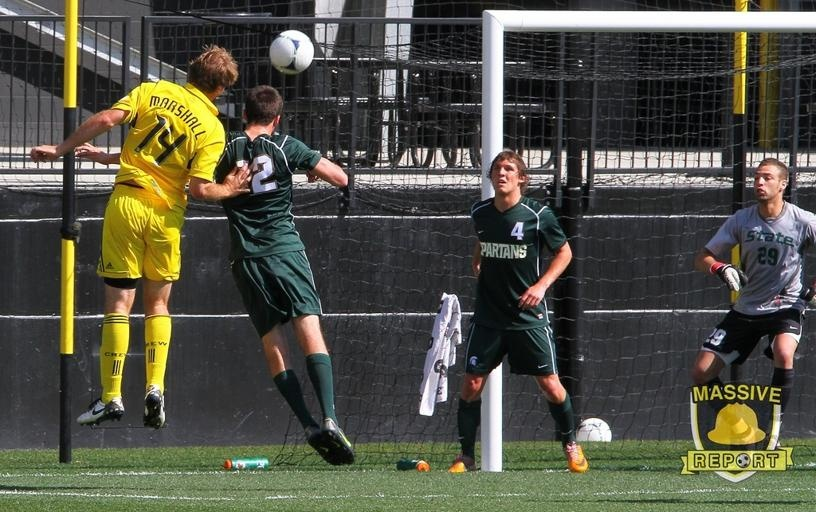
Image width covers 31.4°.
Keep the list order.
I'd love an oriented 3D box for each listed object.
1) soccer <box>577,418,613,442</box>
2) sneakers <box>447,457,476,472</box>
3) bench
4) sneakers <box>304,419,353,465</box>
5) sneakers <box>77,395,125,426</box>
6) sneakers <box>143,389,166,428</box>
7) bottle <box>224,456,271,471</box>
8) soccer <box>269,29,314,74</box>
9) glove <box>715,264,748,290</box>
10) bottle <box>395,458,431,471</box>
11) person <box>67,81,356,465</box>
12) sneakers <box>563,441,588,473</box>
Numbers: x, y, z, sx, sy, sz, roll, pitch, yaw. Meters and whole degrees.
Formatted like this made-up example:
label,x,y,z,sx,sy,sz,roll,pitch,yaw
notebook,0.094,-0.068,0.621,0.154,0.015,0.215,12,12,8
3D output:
label,x,y,z,sx,sy,sz,roll,pitch,yaw
soccer,1.766,1.669,13.814,0.283,0.244,0.229,-21,-4,12
sneakers,0.461,1.820,12.607,0.238,0.091,0.106,5,-7,-28
bench,-0.186,-1.371,13.912,3.596,1.198,0.769,2,0,-2
sneakers,-0.604,1.531,11.755,0.238,0.487,0.253,-38,31,8
sneakers,-2.685,1.338,12.508,0.549,0.235,0.175,-12,-12,11
sneakers,-2.137,1.286,12.218,0.168,0.385,0.187,1,-44,-4
bottle,-1.458,1.843,12.993,0.449,0.113,0.127,0,2,-23
soccer,-1.045,-1.831,13.001,0.371,0.386,0.200,-1,0,-6
glove,2.780,0.217,12.583,0.232,0.236,0.095,-44,-11,-47
bottle,0.043,1.851,12.947,0.282,0.097,0.276,-1,1,0
person,-1.055,0.146,11.937,1.074,3.060,0.648,-2,0,4
sneakers,1.455,1.749,12.605,0.129,0.338,0.156,-39,-54,13
